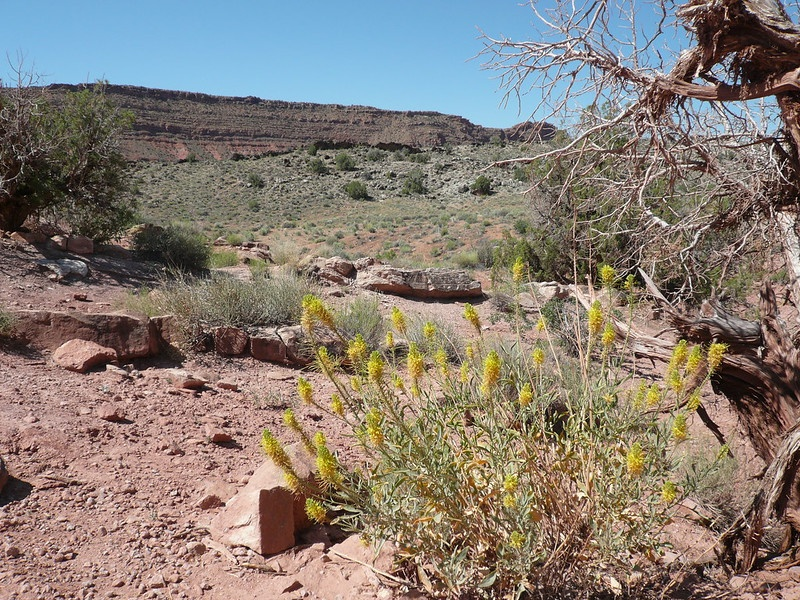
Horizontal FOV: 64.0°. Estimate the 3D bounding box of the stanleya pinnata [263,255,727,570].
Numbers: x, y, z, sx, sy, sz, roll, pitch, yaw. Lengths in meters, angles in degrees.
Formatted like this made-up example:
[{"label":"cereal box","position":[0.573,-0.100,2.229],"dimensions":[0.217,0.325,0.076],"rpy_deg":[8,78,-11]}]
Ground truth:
[{"label":"stanleya pinnata","position":[0.794,1.074,5.115],"dimensions":[2.318,1.548,2.606],"rpy_deg":[-1,-9,8]}]
